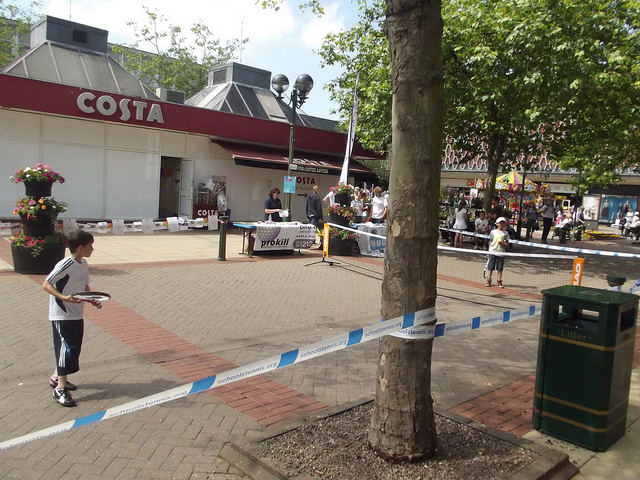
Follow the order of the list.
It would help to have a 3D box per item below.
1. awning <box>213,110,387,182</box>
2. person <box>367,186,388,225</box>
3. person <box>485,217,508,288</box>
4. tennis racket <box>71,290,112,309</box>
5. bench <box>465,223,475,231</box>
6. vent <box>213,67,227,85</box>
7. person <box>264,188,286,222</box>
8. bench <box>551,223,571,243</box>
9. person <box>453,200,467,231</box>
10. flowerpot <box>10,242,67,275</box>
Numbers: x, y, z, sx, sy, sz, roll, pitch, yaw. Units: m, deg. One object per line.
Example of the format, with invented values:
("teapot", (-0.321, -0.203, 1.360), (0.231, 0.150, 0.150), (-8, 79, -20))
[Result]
("awning", (-0.655, -4.292, 23.213), (8.909, 2.550, 2.821), (-3, 8, -44))
("person", (2.071, -1.305, 17.957), (0.566, 1.314, 2.174), (3, 6, 5))
("person", (4.398, 0.275, 12.396), (0.455, 1.719, 1.067), (4, 6, 19))
("tennis racket", (-2.539, 0.663, 5.510), (0.393, 0.221, 0.352), (1, 6, -13))
("bench", (6.089, -0.543, 20.327), (0.355, 0.358, 0.194), (-10, 6, -36))
("vent", (-5.354, -8.812, 26.479), (0.180, 0.819, 1.669), (-2, 7, -34))
("person", (-1.444, -1.114, 15.756), (0.596, 1.089, 2.295), (1, 6, -5))
("bench", (12.183, -0.382, 24.715), (0.895, 1.058, 1.665), (4, 1, 4))
("person", (5.364, -0.997, 19.101), (0.476, 1.155, 1.269), (4, 6, 15))
("flowerpot", (-5.967, 0.424, 10.544), (1.007, 0.518, 0.943), (3, -2, -31))
